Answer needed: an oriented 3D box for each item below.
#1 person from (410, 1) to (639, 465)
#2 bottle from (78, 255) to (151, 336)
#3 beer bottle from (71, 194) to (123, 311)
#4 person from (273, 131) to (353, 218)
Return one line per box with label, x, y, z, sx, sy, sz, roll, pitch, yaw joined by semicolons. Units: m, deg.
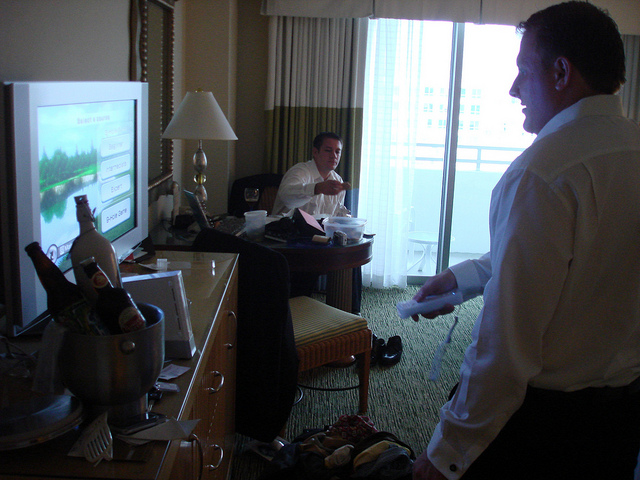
person;0.543;-0.006;1.292;0.528;1.138;0.370;3;12;3
bottle;-0.431;0.114;1.072;0.147;0.146;0.076;13;16;38
beer bottle;-0.515;0.032;1.188;0.079;0.259;0.082;-8;12;2
person;-0.070;-0.469;3.802;0.539;0.613;1.007;2;13;-4
